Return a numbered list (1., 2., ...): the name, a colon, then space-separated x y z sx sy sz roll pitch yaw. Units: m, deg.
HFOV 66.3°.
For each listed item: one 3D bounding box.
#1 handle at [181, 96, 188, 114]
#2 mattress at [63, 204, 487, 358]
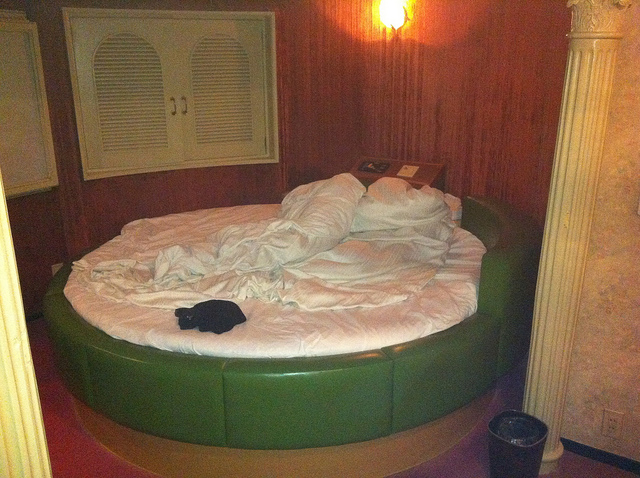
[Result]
1. handle: -1.133 -1.121 4.108 0.047 0.142 0.016 -10 18 -26
2. mattress: -0.286 0.206 2.615 2.156 0.275 1.370 4 16 20
